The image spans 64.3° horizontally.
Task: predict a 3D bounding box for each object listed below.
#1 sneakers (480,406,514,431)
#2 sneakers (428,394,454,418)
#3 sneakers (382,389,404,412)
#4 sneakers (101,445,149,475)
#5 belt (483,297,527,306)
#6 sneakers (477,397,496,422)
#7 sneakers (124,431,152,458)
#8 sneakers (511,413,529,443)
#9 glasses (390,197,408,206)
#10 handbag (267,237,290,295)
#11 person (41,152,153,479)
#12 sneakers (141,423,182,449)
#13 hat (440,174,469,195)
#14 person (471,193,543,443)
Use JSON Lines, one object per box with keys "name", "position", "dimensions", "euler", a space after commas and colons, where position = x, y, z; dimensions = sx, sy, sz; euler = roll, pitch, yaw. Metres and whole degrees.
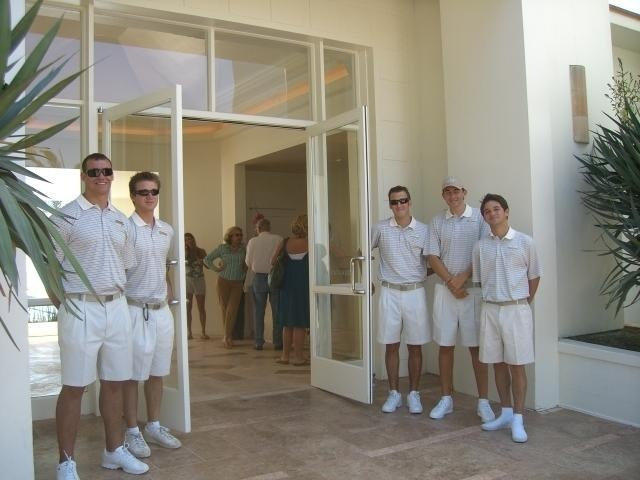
{"name": "sneakers", "position": [1.452, 1.403, 3.999], "dimensions": [0.324, 0.209, 0.113], "euler": [1, 0, -6]}
{"name": "sneakers", "position": [1.026, 1.414, 4.323], "dimensions": [0.100, 0.123, 0.280], "euler": [-4, -6, 44]}
{"name": "sneakers", "position": [0.631, 1.413, 4.436], "dimensions": [0.089, 0.126, 0.250], "euler": [-3, -6, 28]}
{"name": "sneakers", "position": [-1.307, 1.470, 3.450], "dimensions": [0.360, 0.173, 0.130], "euler": [4, 3, 11]}
{"name": "belt", "position": [1.438, 0.479, 3.922], "dimensions": [0.340, 0.050, 0.120], "euler": [-1, 0, 22]}
{"name": "sneakers", "position": [1.358, 1.394, 4.145], "dimensions": [0.086, 0.097, 0.224], "euler": [-4, -8, -3]}
{"name": "sneakers", "position": [-1.310, 1.433, 3.641], "dimensions": [0.104, 0.109, 0.264], "euler": [-7, 14, -44]}
{"name": "sneakers", "position": [1.469, 1.399, 3.759], "dimensions": [0.080, 0.096, 0.241], "euler": [-2, -3, 9]}
{"name": "glasses", "position": [0.694, -0.328, 4.448], "dimensions": [0.165, 0.048, 0.075], "euler": [-1, 0, 6]}
{"name": "handbag", "position": [-0.498, 0.303, 6.283], "dimensions": [0.264, 0.620, 0.268], "euler": [-1, 0, 10]}
{"name": "person", "position": [-1.435, 0.490, 3.326], "dimensions": [0.530, 2.104, 0.255], "euler": [-1, -1, -28]}
{"name": "sneakers", "position": [-1.171, 1.441, 3.807], "dimensions": [0.342, 0.141, 0.124], "euler": [11, 11, 23]}
{"name": "hat", "position": [1.156, -0.505, 4.437], "dimensions": [0.174, 0.134, 0.252], "euler": [-8, -14, 20]}
{"name": "person", "position": [1.414, 0.572, 3.996], "dimensions": [0.358, 1.618, 0.516], "euler": [-1, -1, -37]}
